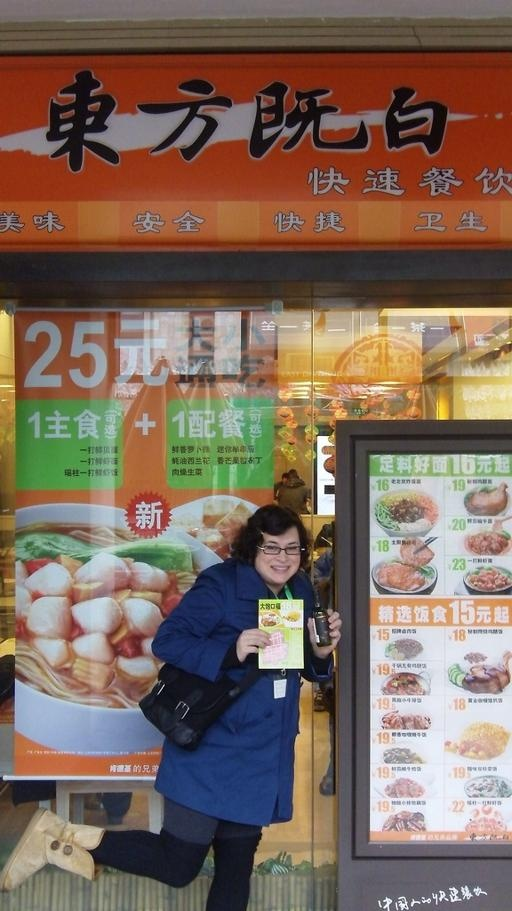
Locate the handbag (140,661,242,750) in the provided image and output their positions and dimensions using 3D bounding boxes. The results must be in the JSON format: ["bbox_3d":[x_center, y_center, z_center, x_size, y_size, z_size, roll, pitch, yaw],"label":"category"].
[{"bbox_3d":[-0.208,0.875,2.752,0.302,0.311,0.115,37,3,33],"label":"handbag"}]
